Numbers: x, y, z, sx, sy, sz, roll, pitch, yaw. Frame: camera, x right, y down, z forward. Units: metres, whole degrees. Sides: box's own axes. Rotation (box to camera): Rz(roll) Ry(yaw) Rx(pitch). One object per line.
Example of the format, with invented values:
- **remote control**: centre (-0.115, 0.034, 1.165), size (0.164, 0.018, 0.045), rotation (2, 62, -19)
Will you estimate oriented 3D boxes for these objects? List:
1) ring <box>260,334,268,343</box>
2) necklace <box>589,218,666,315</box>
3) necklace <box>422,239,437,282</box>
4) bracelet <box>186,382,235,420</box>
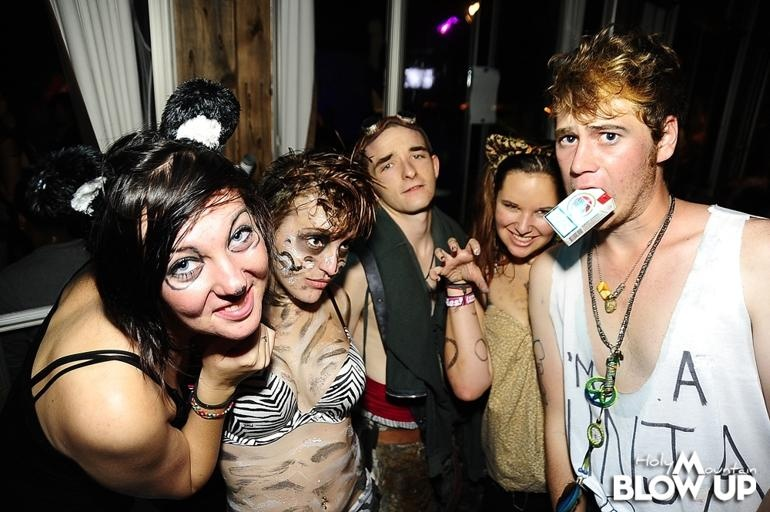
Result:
- **ring**: centre (-0.553, 0.380, 2.672), size (0.007, 0.028, 0.029), rotation (-23, -20, 36)
- **necklace**: centre (1.146, 0.024, 2.743), size (0.127, 0.470, 0.264), rotation (-4, 20, -44)
- **necklace**: centre (0.283, 0.071, 3.589), size (0.071, 0.060, 0.227), rotation (-13, 53, 19)
- **bracelet**: centre (-0.800, 0.670, 2.649), size (0.177, 0.078, 0.161), rotation (33, 40, 6)
